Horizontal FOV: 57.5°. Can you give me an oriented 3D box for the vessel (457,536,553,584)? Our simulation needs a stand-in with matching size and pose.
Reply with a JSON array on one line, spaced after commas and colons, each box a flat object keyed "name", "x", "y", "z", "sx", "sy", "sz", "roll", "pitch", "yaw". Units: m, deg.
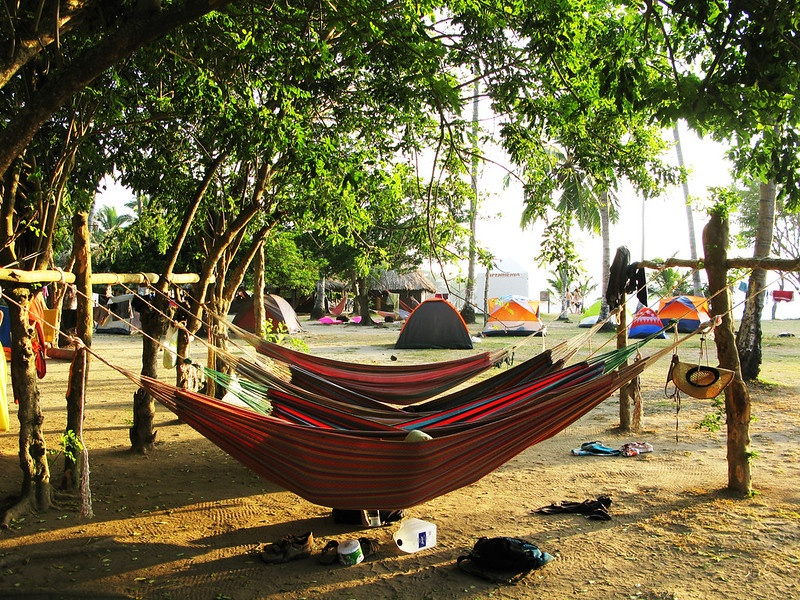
[{"name": "vessel", "x": 0.757, "y": 1.918, "z": 5.345, "sx": 0.478, "sy": 0.180, "sz": 0.342, "roll": 2, "pitch": -1, "yaw": 11}]

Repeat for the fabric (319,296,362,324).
[{"name": "fabric", "x": -2.410, "y": 0.602, "z": 27.719, "sx": 0.743, "sy": 1.142, "sz": 2.484, "roll": 8, "pitch": -9, "yaw": -24}]

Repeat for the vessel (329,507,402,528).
[{"name": "vessel", "x": -0.264, "y": 1.779, "z": 5.983, "sx": 0.595, "sy": 0.141, "sz": 0.200, "roll": -1, "pitch": 10, "yaw": -4}]

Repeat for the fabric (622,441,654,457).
[{"name": "fabric", "x": 2.439, "y": 1.551, "z": 7.520, "sx": 0.219, "sy": 0.083, "sz": 0.158, "roll": -5, "pitch": 10, "yaw": -1}]

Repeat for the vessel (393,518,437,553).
[{"name": "vessel", "x": 0.108, "y": 1.808, "z": 5.622, "sx": 0.428, "sy": 0.237, "sz": 0.258, "roll": 7, "pitch": -14, "yaw": -40}]

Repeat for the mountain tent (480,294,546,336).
[{"name": "mountain tent", "x": 3.155, "y": 0.447, "z": 19.930, "sx": 1.487, "sy": 0.939, "sz": 1.510, "roll": 1, "pitch": 5, "yaw": 20}]

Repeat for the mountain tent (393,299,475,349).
[{"name": "mountain tent", "x": 0.728, "y": 0.491, "z": 17.228, "sx": 2.096, "sy": 1.004, "sz": 2.064, "roll": -3, "pitch": -10, "yaw": 45}]

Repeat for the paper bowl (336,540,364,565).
[{"name": "paper bowl", "x": -0.377, "y": 1.899, "z": 5.445, "sx": 0.193, "sy": 0.141, "sz": 0.130, "roll": 0, "pitch": 11, "yaw": -3}]

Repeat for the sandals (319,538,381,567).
[{"name": "sandals", "x": -0.400, "y": 1.918, "z": 5.497, "sx": 0.357, "sy": 0.087, "sz": 0.186, "roll": -5, "pitch": 14, "yaw": -6}]

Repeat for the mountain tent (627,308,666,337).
[{"name": "mountain tent", "x": 4.950, "y": 0.492, "z": 14.672, "sx": 0.700, "sy": 0.541, "sz": 0.758, "roll": -1, "pitch": -2, "yaw": 0}]

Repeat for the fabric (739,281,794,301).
[{"name": "fabric", "x": 10.824, "y": -0.238, "z": 21.353, "sx": 1.633, "sy": 0.483, "sz": 0.037, "roll": 11, "pitch": -10, "yaw": -24}]

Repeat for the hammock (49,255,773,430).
[{"name": "hammock", "x": 0.074, "y": 0.770, "z": 7.365, "sx": 5.915, "sy": 0.880, "sz": 2.195, "roll": -1, "pitch": -19, "yaw": 1}]

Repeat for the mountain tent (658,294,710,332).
[{"name": "mountain tent", "x": 5.762, "y": 0.282, "z": 14.867, "sx": 0.858, "sy": 0.572, "sz": 0.873, "roll": 2, "pitch": 11, "yaw": 28}]

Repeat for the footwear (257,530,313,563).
[{"name": "footwear", "x": -0.867, "y": 1.878, "z": 5.524, "sx": 0.277, "sy": 0.111, "sz": 0.189, "roll": 0, "pitch": 0, "yaw": -18}]
